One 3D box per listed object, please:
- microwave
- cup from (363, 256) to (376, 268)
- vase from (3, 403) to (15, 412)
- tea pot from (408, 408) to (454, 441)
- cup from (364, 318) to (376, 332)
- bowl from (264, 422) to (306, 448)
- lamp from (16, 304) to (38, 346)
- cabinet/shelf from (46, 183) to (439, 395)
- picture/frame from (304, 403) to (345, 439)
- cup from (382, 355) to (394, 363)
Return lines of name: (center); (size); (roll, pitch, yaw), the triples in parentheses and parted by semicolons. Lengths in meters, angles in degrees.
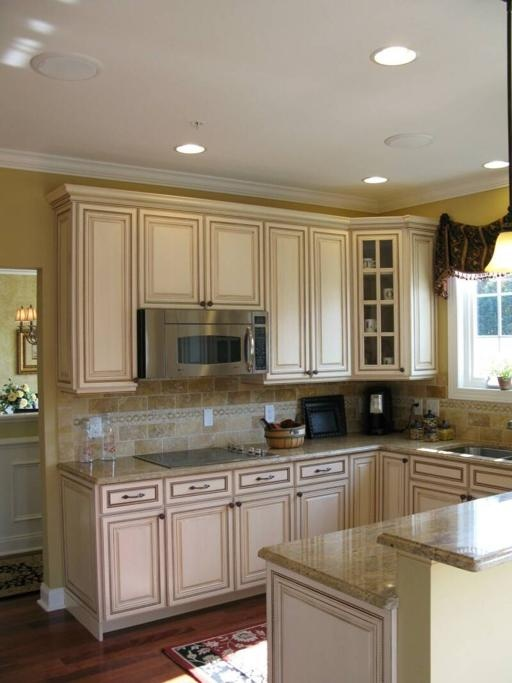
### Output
microwave: (-0.280, 0.009, 3.414); (0.829, 0.397, 0.146); (2, -4, -43)
cup: (0.806, -0.557, 4.145); (0.079, 0.056, 0.062); (1, -1, -5)
vase: (-2.233, 0.597, 5.257); (0.069, 0.072, 0.082); (0, 9, -28)
tea pot: (1.232, 0.580, 4.134); (0.218, 0.213, 0.220); (1, -1, 0)
cup: (0.815, -0.107, 4.152); (0.090, 0.087, 0.070); (0, 3, -9)
bowl: (0.184, 0.623, 3.768); (0.255, 0.141, 0.142); (-1, -3, 0)
lamp: (-2.571, -0.191, 6.501); (0.208, 0.464, 0.373); (1, -4, -24)
cabinet/shelf: (0.059, -0.290, 3.682); (2.547, 1.167, 0.376); (1, -4, -27)
picture/frame: (0.488, 0.591, 4.272); (0.253, 0.174, 0.020); (8, -24, -35)
cup: (0.933, 0.136, 4.110); (0.081, 0.074, 0.044); (3, 10, 22)
